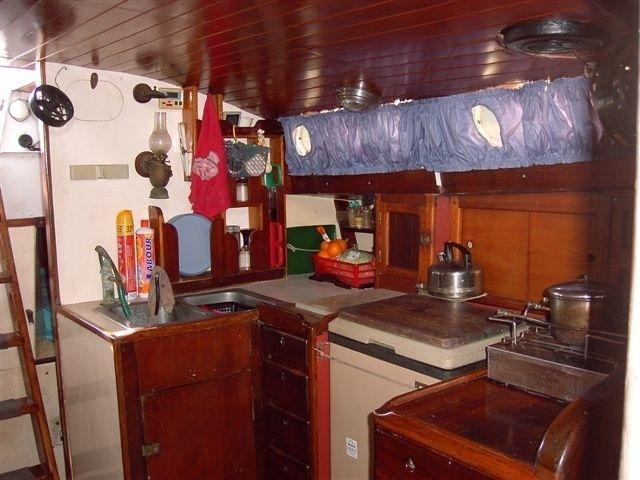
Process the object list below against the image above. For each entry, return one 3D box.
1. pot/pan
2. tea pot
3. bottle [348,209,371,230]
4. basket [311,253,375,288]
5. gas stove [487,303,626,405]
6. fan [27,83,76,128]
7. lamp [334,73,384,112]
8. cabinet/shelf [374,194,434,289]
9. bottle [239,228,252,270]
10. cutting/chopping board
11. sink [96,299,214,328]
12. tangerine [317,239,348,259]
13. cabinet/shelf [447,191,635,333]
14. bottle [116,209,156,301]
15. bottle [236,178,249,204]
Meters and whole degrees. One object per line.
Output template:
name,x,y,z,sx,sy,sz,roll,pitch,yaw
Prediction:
pot/pan,0.889,0.227,1.802,0.226,0.235,0.222,-2,4,-15
tea pot,0.677,0.143,2.555,0.282,0.264,0.270,0,-1,0
bottle,0.262,-0.134,3.253,0.067,0.066,0.122,-19,-2,-13
basket,0.140,0.204,3.153,0.420,0.156,0.137,4,10,43
gas stove,0.798,0.414,1.721,0.279,0.153,0.360,-6,9,-40
fan,-1.389,-0.695,2.630,0.093,0.206,0.211,-29,-19,38
lamp,0.178,-0.701,2.451,0.206,0.130,0.308,0,7,19
cabinet/shelf,0.490,0.009,3.081,0.304,0.544,0.384,6,4,14
bottle,-0.478,0.064,3.270,0.088,0.246,0.096,-2,7,0
cutting/chopping board,0.174,0.321,2.766,0.324,0.045,0.581,4,9,42
sink,-0.876,0.407,2.711,0.259,0.113,0.317,-1,7,-42
tangerine,0.089,0.047,3.307,0.140,0.135,0.133,2,5,-9
cabinet/shelf,0.963,0.100,2.174,0.249,0.630,0.595,-13,4,-25
bottle,-1.055,0.072,2.907,0.206,0.492,0.166,-5,8,-21
bottle,-0.492,-0.309,3.207,0.111,0.139,0.037,-7,8,-31
